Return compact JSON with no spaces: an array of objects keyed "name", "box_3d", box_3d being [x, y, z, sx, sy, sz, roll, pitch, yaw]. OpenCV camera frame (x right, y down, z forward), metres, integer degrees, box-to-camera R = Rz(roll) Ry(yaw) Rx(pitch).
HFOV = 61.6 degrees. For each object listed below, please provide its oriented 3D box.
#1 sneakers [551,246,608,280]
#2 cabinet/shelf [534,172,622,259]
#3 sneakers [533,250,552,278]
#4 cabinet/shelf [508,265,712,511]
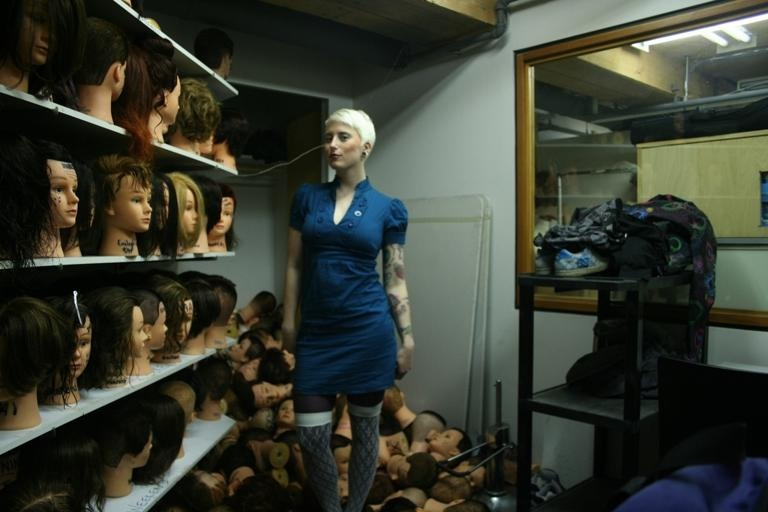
[{"name":"sneakers","box_3d":[0.871,0.048,2.947,0.254,0.114,0.103,-2,-2,-6]},{"name":"cabinet/shelf","box_3d":[0.927,-0.125,3.072,0.399,0.285,0.288,3,7,23]},{"name":"sneakers","box_3d":[0.757,0.040,3.078,0.050,0.062,0.143,2,-3,30]},{"name":"cabinet/shelf","box_3d":[1.093,0.633,3.159,0.657,1.152,0.876,5,8,40]}]
